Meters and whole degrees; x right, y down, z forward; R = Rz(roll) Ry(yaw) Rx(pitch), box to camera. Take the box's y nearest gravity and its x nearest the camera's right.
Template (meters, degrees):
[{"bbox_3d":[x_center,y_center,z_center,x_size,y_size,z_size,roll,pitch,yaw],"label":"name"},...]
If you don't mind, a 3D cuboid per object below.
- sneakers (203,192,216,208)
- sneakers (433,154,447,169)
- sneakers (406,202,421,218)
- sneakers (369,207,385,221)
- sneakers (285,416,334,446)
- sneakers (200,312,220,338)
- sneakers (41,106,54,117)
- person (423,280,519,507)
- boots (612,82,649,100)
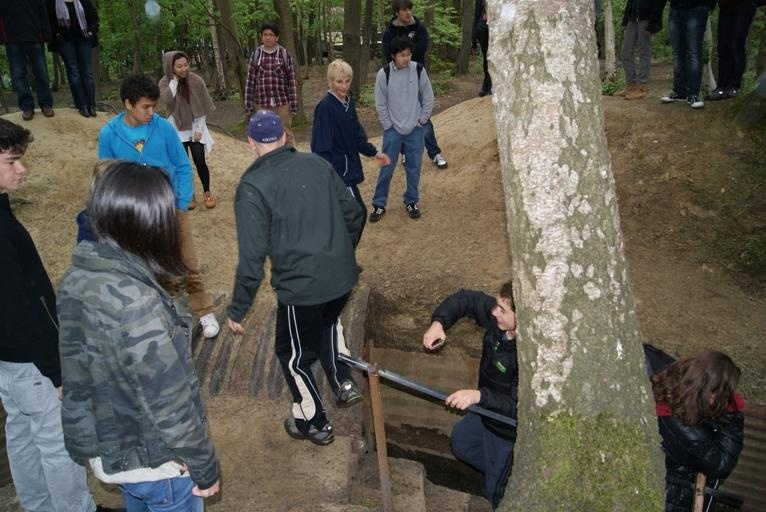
[{"bbox_3d":[-2.749,-0.884,9.449,0.144,0.266,0.100,-21,11,-28],"label":"sneakers"},{"bbox_3d":[0.987,-1.689,10.534,0.139,0.154,0.341,-29,45,-2],"label":"sneakers"},{"bbox_3d":[0.492,-0.740,9.526,0.137,0.134,0.292,-11,28,-7],"label":"sneakers"},{"bbox_3d":[-0.109,-0.682,9.482,0.111,0.151,0.344,5,22,11],"label":"sneakers"},{"bbox_3d":[-0.760,1.813,6.150,0.515,0.261,0.238,18,54,3],"label":"sneakers"},{"bbox_3d":[-2.064,0.818,7.059,0.115,0.289,0.118,-19,-12,5],"label":"sneakers"},{"bbox_3d":[-5.330,-2.324,9.476,0.095,0.112,0.256,-33,39,-23],"label":"sneakers"},{"bbox_3d":[1.001,1.560,6.745,1.006,2.359,1.318,-13,54,-8],"label":"person"},{"bbox_3d":[4.223,-2.828,10.207,0.638,0.288,0.207,-7,15,-40],"label":"boots"}]
